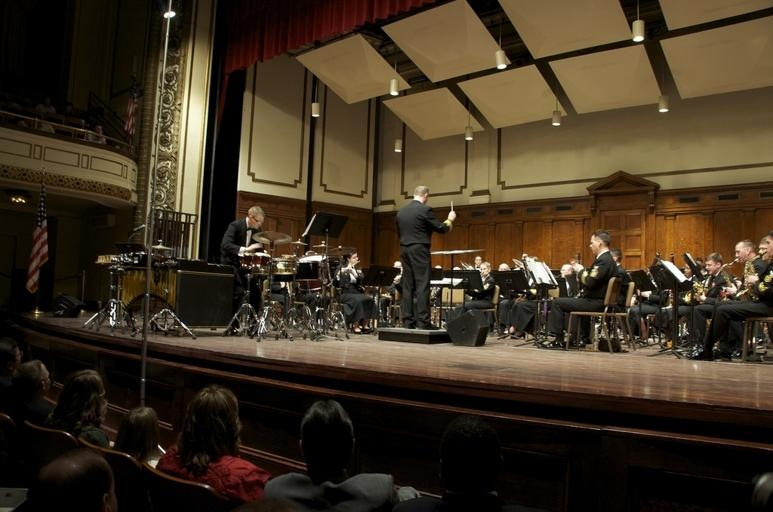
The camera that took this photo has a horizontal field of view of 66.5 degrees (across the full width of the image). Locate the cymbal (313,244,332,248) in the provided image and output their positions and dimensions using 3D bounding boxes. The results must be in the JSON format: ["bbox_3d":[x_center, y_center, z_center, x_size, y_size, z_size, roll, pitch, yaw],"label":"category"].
[{"bbox_3d":[-1.120,-0.162,10.196,0.166,0.042,0.174,3,-5,12],"label":"cymbal"}]

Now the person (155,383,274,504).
[{"bbox_3d":[-1.251,1.339,4.299,0.835,0.808,0.492,7,4,18],"label":"person"}]

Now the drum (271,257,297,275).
[{"bbox_3d":[-1.372,0.140,7.950,0.244,0.151,0.243,2,3,0],"label":"drum"}]

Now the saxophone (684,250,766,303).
[{"bbox_3d":[4.979,0.335,8.660,0.967,0.453,0.296,-39,-5,-20],"label":"saxophone"}]

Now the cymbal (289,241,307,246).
[{"bbox_3d":[-1.512,-0.210,10.156,0.204,0.090,0.202,4,3,-34],"label":"cymbal"}]

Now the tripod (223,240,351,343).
[{"bbox_3d":[-1.377,0.620,8.916,1.498,1.536,1.805,4,-1,-24],"label":"tripod"}]

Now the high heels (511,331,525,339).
[{"bbox_3d":[2.263,1.379,10.111,0.153,0.167,0.161,3,-4,-10],"label":"high heels"}]

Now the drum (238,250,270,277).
[{"bbox_3d":[-1.836,0.107,8.192,0.372,0.337,0.511,5,-6,-16],"label":"drum"}]

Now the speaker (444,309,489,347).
[{"bbox_3d":[1.085,0.968,7.939,0.521,0.499,0.394,1,-6,38],"label":"speaker"}]

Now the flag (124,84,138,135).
[{"bbox_3d":[-5.909,-3.404,13.713,0.196,1.382,0.778,5,-6,-24],"label":"flag"}]

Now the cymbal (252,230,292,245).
[{"bbox_3d":[-1.523,-0.227,7.777,0.272,0.072,0.286,-3,-17,3],"label":"cymbal"}]
